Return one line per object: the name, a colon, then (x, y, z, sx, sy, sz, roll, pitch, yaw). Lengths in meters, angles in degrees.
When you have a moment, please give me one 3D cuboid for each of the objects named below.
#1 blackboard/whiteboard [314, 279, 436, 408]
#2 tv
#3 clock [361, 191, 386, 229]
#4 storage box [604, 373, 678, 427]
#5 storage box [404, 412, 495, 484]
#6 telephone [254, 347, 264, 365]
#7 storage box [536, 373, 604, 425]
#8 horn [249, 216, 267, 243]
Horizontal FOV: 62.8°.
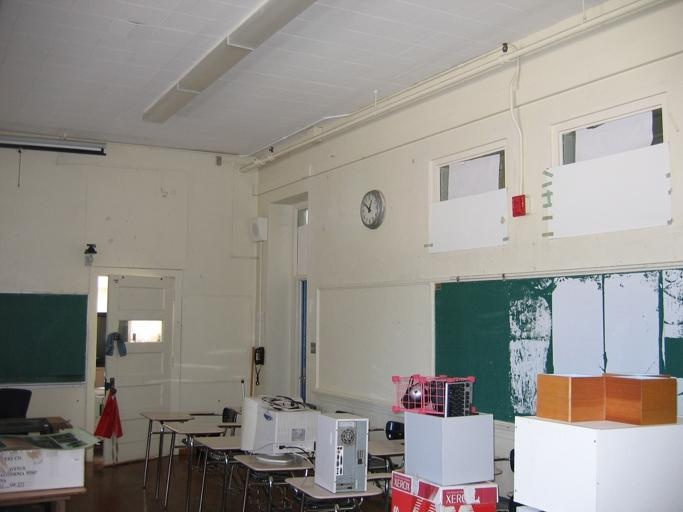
blackboard/whiteboard: (0.409, 1.005, 6.536, 0.070, 1.135, 1.530, 4, -9, -30)
tv: (-0.580, 1.509, 5.233, 0.590, 0.561, 0.598, 6, -7, -29)
clock: (0.369, -0.567, 6.886, 0.103, 0.483, 0.478, 7, -11, -28)
storage box: (1.820, 0.799, 3.369, 0.301, 0.256, 0.316, 1, -3, -29)
storage box: (0.782, 1.306, 4.120, 0.503, 0.502, 0.514, 3, -5, -34)
telephone: (-1.345, 1.596, 9.020, 0.175, 0.309, 0.120, 2, -9, 2)
storage box: (1.414, 0.872, 3.496, 0.418, 0.255, 0.450, 1, -7, -1)
horn: (-1.386, -0.434, 9.145, 0.220, 0.372, 0.382, 7, -11, -29)
